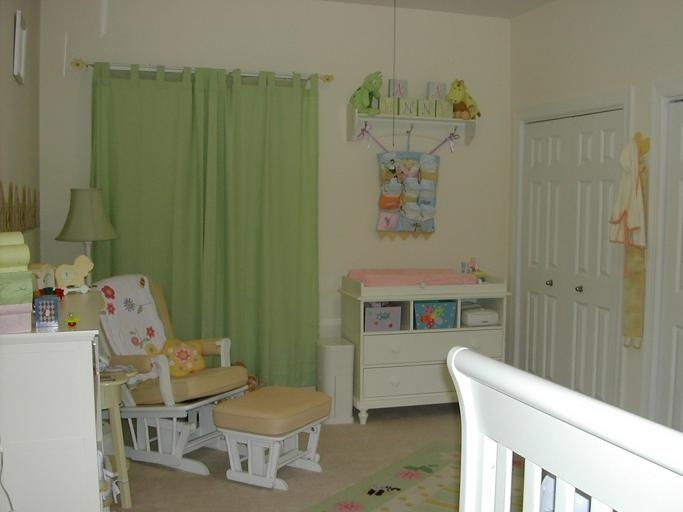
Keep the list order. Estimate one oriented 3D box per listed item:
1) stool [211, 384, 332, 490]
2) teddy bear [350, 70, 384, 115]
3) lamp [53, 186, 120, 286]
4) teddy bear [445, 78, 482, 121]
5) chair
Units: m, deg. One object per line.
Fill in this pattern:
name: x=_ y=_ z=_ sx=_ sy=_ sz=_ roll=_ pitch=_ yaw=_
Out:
stool: x=-0.411 y=1.078 z=3.617 sx=0.498 sy=0.496 sz=0.628 roll=0 pitch=-2 yaw=30
teddy bear: x=0.199 y=-1.282 z=4.689 sx=0.254 sy=0.312 sz=0.209 roll=-1 pitch=6 yaw=-8
lamp: x=-1.768 y=-0.280 z=4.075 sx=0.378 sy=0.361 sz=0.230 roll=-1 pitch=6 yaw=-16
teddy bear: x=1.053 y=-1.337 z=5.060 sx=0.262 sy=0.338 sz=0.464 roll=19 pitch=29 yaw=33
chair: x=-1.125 y=0.748 z=3.965 sx=0.931 sy=1.158 sz=0.773 roll=0 pitch=2 yaw=30
